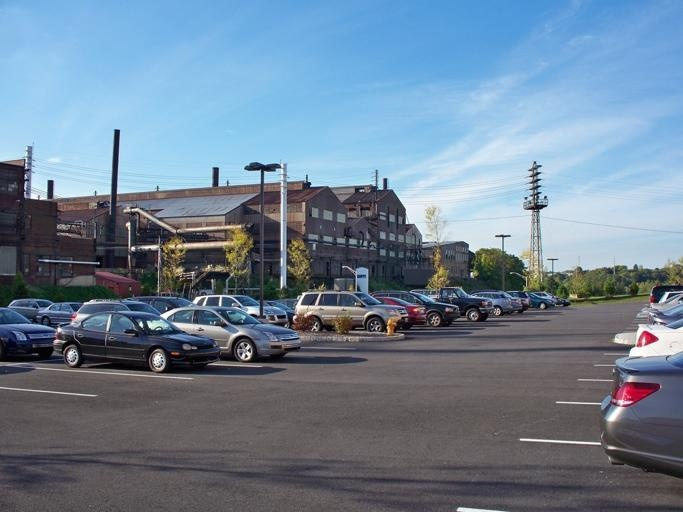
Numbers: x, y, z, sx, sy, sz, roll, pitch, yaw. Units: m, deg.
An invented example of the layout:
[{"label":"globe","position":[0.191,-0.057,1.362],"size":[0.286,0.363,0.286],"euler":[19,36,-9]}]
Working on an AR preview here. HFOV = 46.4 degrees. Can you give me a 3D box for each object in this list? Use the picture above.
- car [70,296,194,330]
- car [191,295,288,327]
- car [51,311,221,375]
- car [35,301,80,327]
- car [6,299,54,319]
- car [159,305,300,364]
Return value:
[{"label":"car","position":[-6.646,1.867,25.546],"size":[2.770,0.924,1.179],"euler":[-2,0,9]},{"label":"car","position":[-4.306,2.652,35.086],"size":[3.874,1.439,1.779],"euler":[-1,-1,16]},{"label":"car","position":[-5.590,2.286,21.953],"size":[4.073,1.323,1.743],"euler":[-1,-3,22]},{"label":"car","position":[-12.408,2.611,34.879],"size":[2.798,0.970,1.270],"euler":[-3,-1,27]},{"label":"car","position":[-14.743,2.560,37.879],"size":[2.692,1.041,1.253],"euler":[-1,-2,15]},{"label":"car","position":[-3.453,2.300,24.108],"size":[4.026,1.308,1.705],"euler":[-1,-1,24]}]
